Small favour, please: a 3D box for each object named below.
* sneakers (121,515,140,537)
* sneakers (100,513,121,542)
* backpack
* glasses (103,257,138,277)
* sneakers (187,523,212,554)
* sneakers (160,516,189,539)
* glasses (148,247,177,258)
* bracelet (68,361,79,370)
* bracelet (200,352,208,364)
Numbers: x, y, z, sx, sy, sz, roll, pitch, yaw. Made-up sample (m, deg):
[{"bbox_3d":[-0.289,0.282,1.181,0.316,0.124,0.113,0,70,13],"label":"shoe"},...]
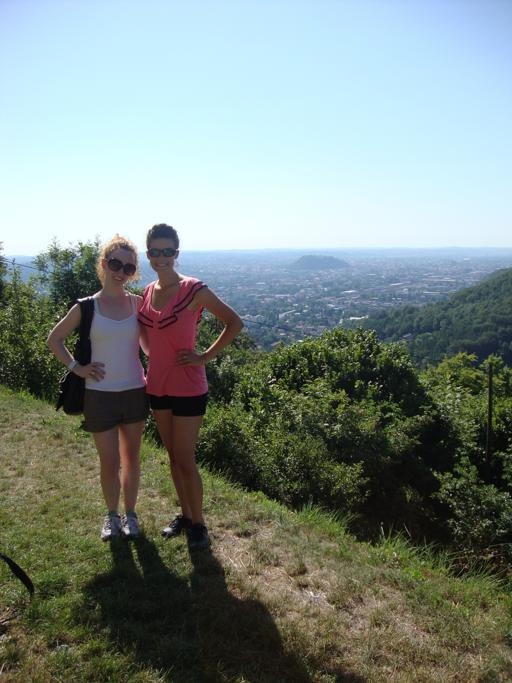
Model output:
[{"bbox_3d":[-0.818,1.213,3.443,0.063,0.085,0.192,1,-2,-12],"label":"sneakers"},{"bbox_3d":[-0.910,1.200,3.350,0.078,0.102,0.220,1,-7,-8],"label":"sneakers"},{"bbox_3d":[-1.093,0.097,3.255,0.160,0.602,0.232,8,2,-18],"label":"backpack"},{"bbox_3d":[-0.835,-0.458,3.294,0.179,0.092,0.103,8,2,-21],"label":"glasses"},{"bbox_3d":[-0.371,1.276,3.437,0.094,0.097,0.210,0,-3,-3],"label":"sneakers"},{"bbox_3d":[-0.534,1.264,3.601,0.074,0.095,0.223,41,18,15],"label":"sneakers"},{"bbox_3d":[-0.563,-0.544,3.254,0.189,0.058,0.060,8,3,-33],"label":"glasses"},{"bbox_3d":[-1.102,0.147,3.196,0.051,0.020,0.052,-37,25,-18],"label":"bracelet"},{"bbox_3d":[-0.304,0.100,3.164,0.023,0.066,0.048,4,2,20],"label":"bracelet"}]
